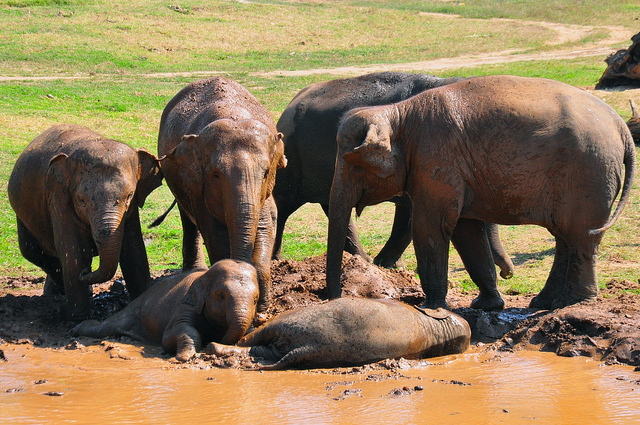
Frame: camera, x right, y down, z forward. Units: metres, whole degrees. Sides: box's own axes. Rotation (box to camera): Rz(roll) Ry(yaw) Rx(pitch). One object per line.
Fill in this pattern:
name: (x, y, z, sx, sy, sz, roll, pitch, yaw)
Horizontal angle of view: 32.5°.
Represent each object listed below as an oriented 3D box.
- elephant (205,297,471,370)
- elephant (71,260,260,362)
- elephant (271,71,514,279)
elephant: (0.445, 1.762, 16.432, 4.190, 1.287, 1.412, 1, 49, -4)
elephant: (-2.342, 1.507, 16.744, 2.621, 1.091, 1.457, -11, -10, 34)
elephant: (0.756, -0.894, 19.692, 3.550, 3.786, 2.356, 6, 22, 10)
